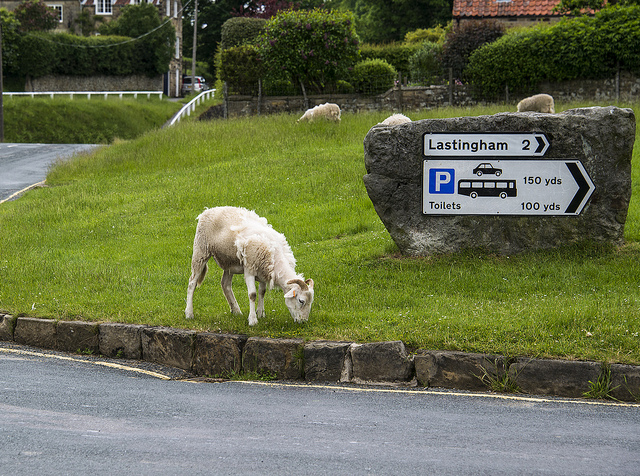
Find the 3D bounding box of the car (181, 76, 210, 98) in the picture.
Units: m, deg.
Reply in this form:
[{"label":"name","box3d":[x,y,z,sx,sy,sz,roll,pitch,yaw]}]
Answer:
[{"label":"car","box3d":[-9.174,-11.138,111.163,1.204,1.169,2.450,-1,16,6]}]

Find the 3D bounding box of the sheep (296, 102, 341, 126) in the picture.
[{"label":"sheep","box3d":[0.052,-5.667,69.151,1.763,0.770,2.121,2,10,1]}]

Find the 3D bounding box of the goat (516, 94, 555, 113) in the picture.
[{"label":"goat","box3d":[9.328,-5.796,65.367,1.053,0.756,1.531,-6,12,-35]}]

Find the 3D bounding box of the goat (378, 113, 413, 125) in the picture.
[{"label":"goat","box3d":[2.857,-4.560,58.413,0.903,0.402,0.670,0,-2,-27]}]
